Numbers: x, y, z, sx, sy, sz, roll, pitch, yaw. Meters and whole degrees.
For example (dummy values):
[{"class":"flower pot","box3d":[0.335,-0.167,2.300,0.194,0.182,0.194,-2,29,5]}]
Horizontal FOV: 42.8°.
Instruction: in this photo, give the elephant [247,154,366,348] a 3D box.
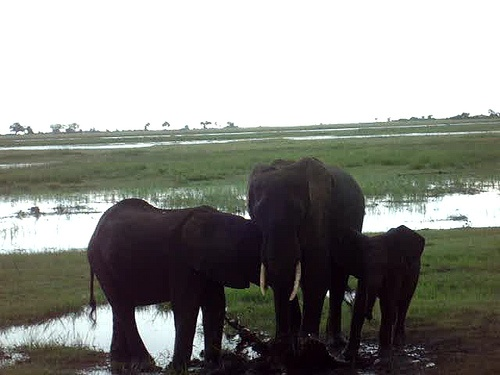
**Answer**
[{"class":"elephant","box3d":[0.713,0.876,12.514,1.802,3.008,3.825,-2,7,13]}]
